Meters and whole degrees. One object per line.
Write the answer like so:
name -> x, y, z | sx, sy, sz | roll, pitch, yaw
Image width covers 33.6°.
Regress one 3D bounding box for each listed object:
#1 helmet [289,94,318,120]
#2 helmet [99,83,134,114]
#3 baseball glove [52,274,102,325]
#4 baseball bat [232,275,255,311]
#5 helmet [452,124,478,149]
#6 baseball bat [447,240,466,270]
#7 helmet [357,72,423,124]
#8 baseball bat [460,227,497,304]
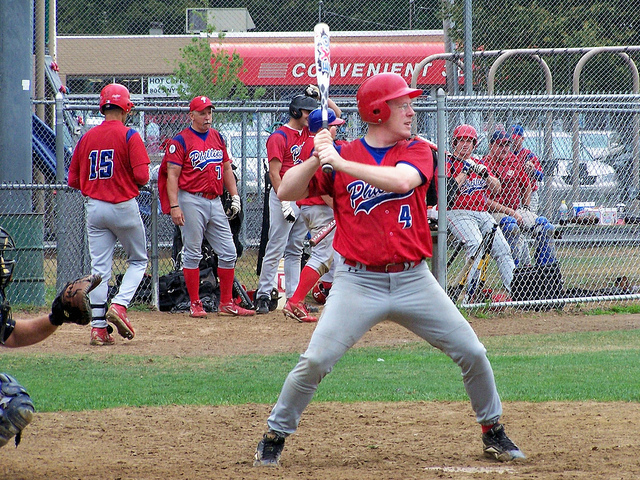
helmet -> -0.223, -1.648, 13.098 | 0.328, 0.264, 0.247 | 18, 4, 17
helmet -> -2.282, -1.597, 12.035 | 0.254, 0.275, 0.355 | 3, -25, 20
baseball glove -> -2.012, 0.533, 8.777 | 0.230, 0.293, 0.477 | 13, -49, -37
baseball bat -> -1.017, 0.782, 14.113 | 0.119, 0.164, 0.689 | -5, 47, -32
helmet -> 1.870, -1.296, 13.589 | 0.243, 0.342, 0.344 | 2, 12, 5
baseball bat -> 1.807, 0.169, 13.787 | 0.108, 0.678, 0.089 | 35, -36, -16
helmet -> 0.647, -1.236, 8.937 | 0.589, 0.409, 0.449 | -4, 16, 17
baseball bat -> 2.043, 0.332, 13.625 | 0.165, 0.981, 0.167 | 20, 7, -17
